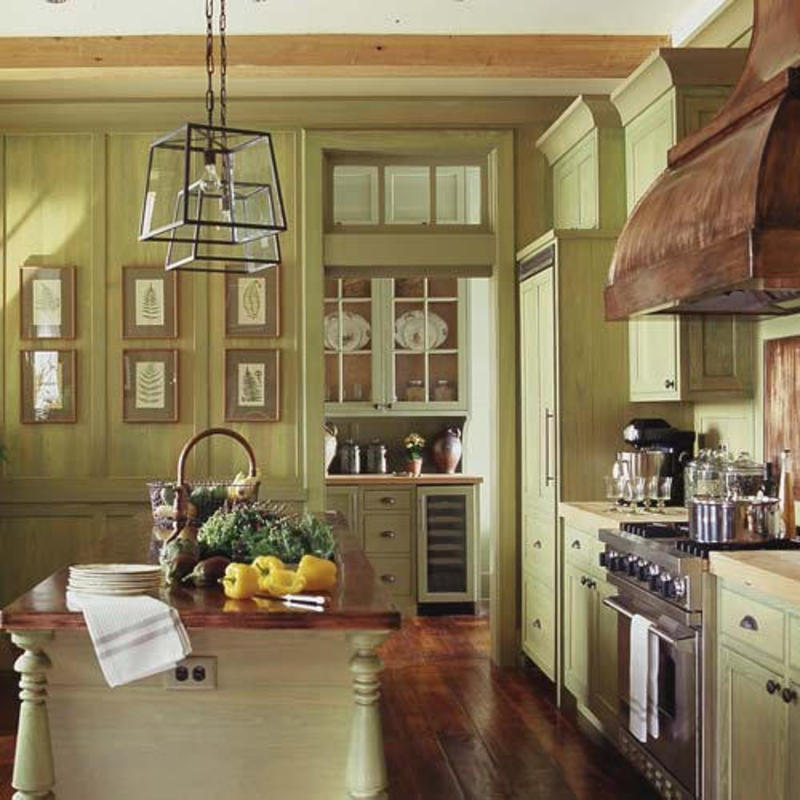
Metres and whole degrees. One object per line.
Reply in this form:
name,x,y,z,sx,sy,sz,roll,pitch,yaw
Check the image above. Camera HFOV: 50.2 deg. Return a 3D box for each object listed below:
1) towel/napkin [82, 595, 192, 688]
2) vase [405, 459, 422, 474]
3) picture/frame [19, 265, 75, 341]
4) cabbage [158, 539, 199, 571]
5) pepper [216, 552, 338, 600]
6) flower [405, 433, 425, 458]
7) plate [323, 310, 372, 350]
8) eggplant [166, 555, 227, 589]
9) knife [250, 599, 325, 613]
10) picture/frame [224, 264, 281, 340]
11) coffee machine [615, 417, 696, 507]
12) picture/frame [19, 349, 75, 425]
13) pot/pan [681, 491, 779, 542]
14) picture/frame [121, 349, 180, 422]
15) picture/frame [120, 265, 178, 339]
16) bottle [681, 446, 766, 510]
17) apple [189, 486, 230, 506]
towel/napkin,-0.592,0.542,1.915,0.258,0.167,0.133,0,-2,3
vase,0.109,0.528,6.627,0.116,0.122,0.111,1,-3,-19
picture/frame,-2.095,-0.565,5.102,0.447,0.607,0.027,0,0,-5
cabbage,-0.587,0.418,2.279,0.089,0.059,0.106,-18,21,-27
pepper,-0.291,0.417,2.077,0.200,0.086,0.119,-1,3,-9
flower,0.091,0.377,6.743,0.160,0.160,0.159,2,4,18
plate,-0.402,-0.518,6.656,0.353,0.311,0.064,0,-2,2
eggplant,-0.519,0.448,2.183,0.146,0.072,0.063,0,-7,13
knife,-0.255,0.476,1.968,0.174,0.016,0.112,1,-2,-2
picture/frame,-0.833,-0.544,4.916,0.446,0.602,0.025,0,-1,-2
coffee machine,1.217,0.254,3.928,0.421,0.444,0.266,2,-2,-3
picture/frame,-2.099,-0.057,5.085,0.445,0.600,0.028,0,-1,-5
pot/pan,1.094,0.410,2.829,0.278,0.150,0.128,0,-2,20
picture/frame,-1.507,-0.069,5.130,0.444,0.595,0.026,0,-2,-7
picture/frame,-1.510,-0.572,5.099,0.449,0.606,0.028,0,-1,-7
bottle,1.119,0.279,3.141,0.367,0.254,0.275,-2,-1,28
apple,-0.647,0.333,2.913,0.124,0.066,0.039,1,-2,-13
